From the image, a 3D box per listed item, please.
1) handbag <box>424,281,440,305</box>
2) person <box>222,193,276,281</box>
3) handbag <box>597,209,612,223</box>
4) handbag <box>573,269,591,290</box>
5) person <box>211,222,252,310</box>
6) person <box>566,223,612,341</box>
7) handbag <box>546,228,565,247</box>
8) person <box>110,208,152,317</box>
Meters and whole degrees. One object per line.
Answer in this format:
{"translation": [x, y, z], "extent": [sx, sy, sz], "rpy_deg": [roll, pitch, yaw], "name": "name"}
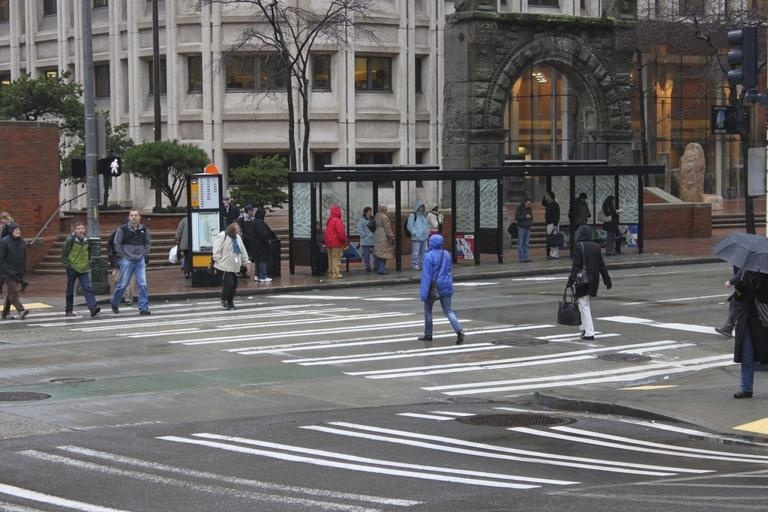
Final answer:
{"translation": [1.290, 0.915, 41.119], "extent": [0.252, 0.566, 0.579], "rpy_deg": [2, -10, -42], "name": "handbag"}
{"translation": [-4.202, -0.549, 51.493], "extent": [1.089, 2.667, 1.015], "rpy_deg": [0, 1, -24], "name": "person"}
{"translation": [8.527, -1.528, 59.511], "extent": [0.515, 0.442, 0.355], "rpy_deg": [0, -1, 7], "name": "handbag"}
{"translation": [5.361, 0.573, 41.502], "extent": [0.503, 0.543, 0.261], "rpy_deg": [-11, -5, 32], "name": "handbag"}
{"translation": [-4.636, 0.249, 46.389], "extent": [1.145, 2.526, 1.339], "rpy_deg": [1, -3, -6], "name": "person"}
{"translation": [5.825, 0.688, 42.045], "extent": [1.224, 3.168, 1.561], "rpy_deg": [1, 0, 0], "name": "person"}
{"translation": [6.451, -0.727, 57.909], "extent": [0.728, 0.696, 0.217], "rpy_deg": [-5, 14, -32], "name": "handbag"}
{"translation": [-7.388, 0.135, 45.649], "extent": [1.168, 2.891, 1.368], "rpy_deg": [0, 0, -42], "name": "person"}
